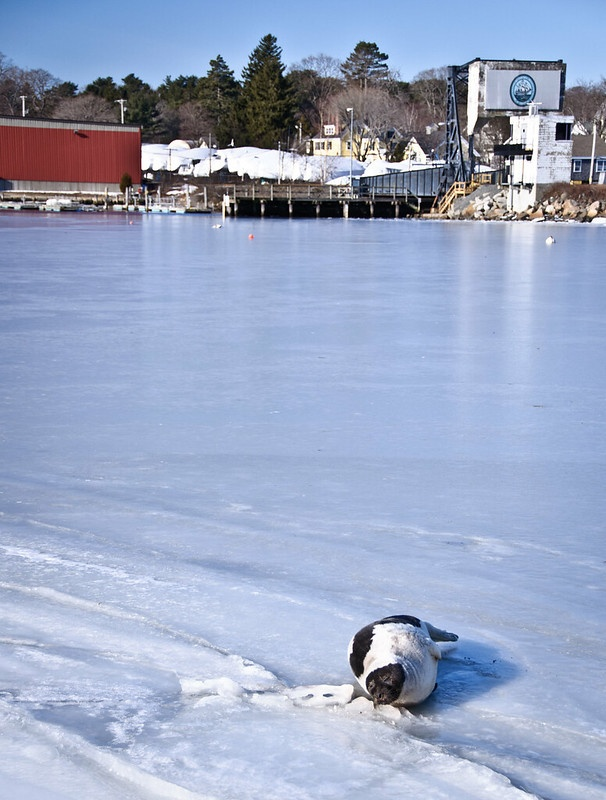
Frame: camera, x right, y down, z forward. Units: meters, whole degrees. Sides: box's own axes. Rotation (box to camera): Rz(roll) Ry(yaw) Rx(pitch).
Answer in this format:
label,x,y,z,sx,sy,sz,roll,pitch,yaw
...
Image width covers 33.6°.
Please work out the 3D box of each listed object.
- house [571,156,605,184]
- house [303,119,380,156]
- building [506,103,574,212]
label,x,y,z,sx,sy,sz,roll,pitch,yaw
house,18.573,-15.072,65.465,2.118,1.659,1.037,7,13,22
house,5.574,-28.166,105.616,7.934,2.407,5.817,-4,8,-31
building,12.618,-13.441,56.711,3.643,5.060,1.854,-5,22,-13
